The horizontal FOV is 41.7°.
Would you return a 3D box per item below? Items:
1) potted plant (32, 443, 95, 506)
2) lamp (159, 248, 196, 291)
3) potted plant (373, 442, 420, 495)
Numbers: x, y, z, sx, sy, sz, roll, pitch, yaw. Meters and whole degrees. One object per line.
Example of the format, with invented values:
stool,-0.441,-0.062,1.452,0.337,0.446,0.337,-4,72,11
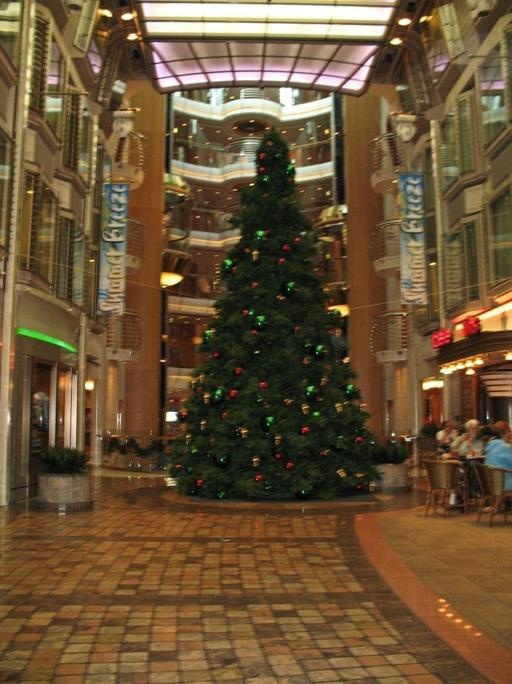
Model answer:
potted plant,-3.066,2.135,10.937,1.022,1.011,1.028,-3,-8,27
lamp,-4.500,-3.843,35.251,2.161,1.417,2.080,7,-13,-33
potted plant,2.615,2.473,13.693,0.961,1.144,1.062,-7,-14,35
